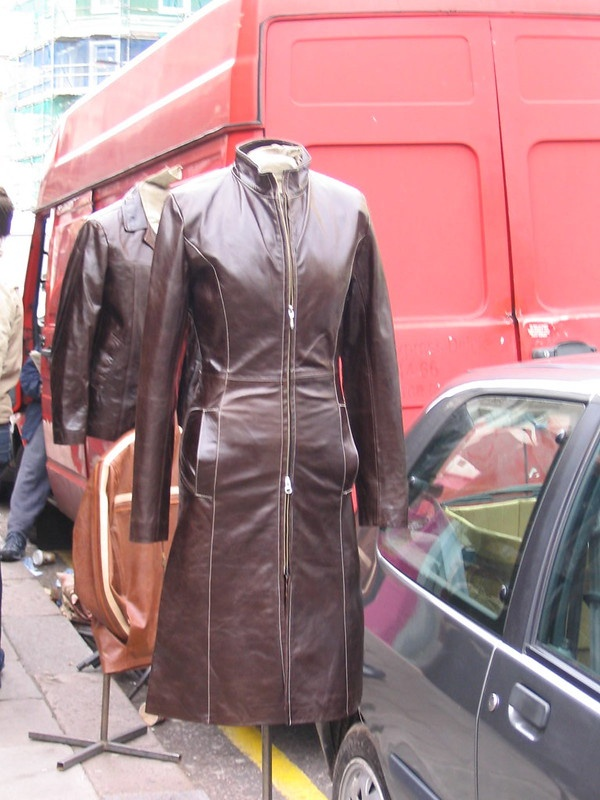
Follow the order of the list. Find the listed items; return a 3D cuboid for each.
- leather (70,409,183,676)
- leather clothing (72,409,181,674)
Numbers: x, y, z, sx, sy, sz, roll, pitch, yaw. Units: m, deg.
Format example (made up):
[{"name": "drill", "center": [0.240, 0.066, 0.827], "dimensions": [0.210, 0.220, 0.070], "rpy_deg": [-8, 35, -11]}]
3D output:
[{"name": "leather", "center": [-0.639, 0.567, 2.379], "dimensions": [0.198, 0.646, 0.328], "rpy_deg": [-10, -10, 25]}, {"name": "leather clothing", "center": [-0.609, 0.557, 2.429], "dimensions": [0.226, 0.701, 0.359], "rpy_deg": [-7, -6, 32]}]
